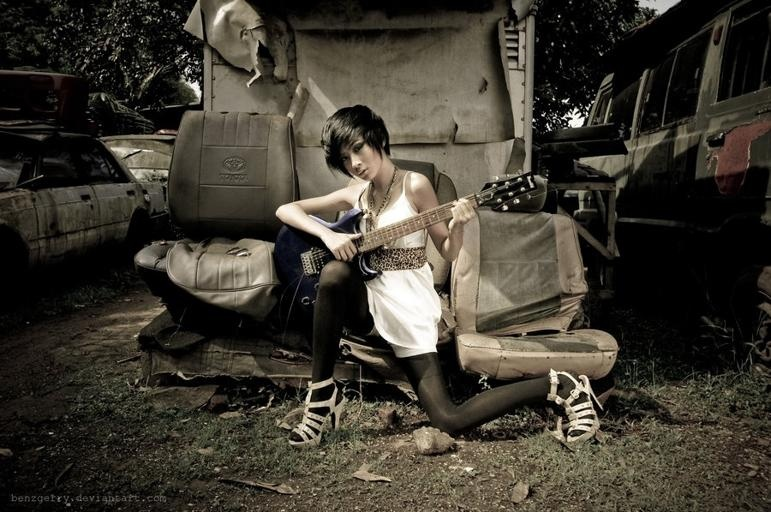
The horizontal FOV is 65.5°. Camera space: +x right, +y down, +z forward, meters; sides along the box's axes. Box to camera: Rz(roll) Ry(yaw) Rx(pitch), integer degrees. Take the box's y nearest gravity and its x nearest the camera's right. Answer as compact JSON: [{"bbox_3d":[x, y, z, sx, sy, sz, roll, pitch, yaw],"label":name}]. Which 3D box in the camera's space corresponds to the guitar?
[{"bbox_3d":[0.069,-0.169,4.533,2.098,0.768,0.308,-22,-16,14],"label":"guitar"}]

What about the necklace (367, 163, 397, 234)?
[{"bbox_3d":[-0.033,-0.436,4.640,0.263,0.484,0.111,-1,-18,41],"label":"necklace"}]

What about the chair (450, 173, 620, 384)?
[{"bbox_3d":[1.187,0.248,4.839,1.200,1.292,1.161,1,3,-4],"label":"chair"}]

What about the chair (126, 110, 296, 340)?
[{"bbox_3d":[-1.431,-0.327,5.213,1.217,1.890,1.035,0,10,6],"label":"chair"}]
